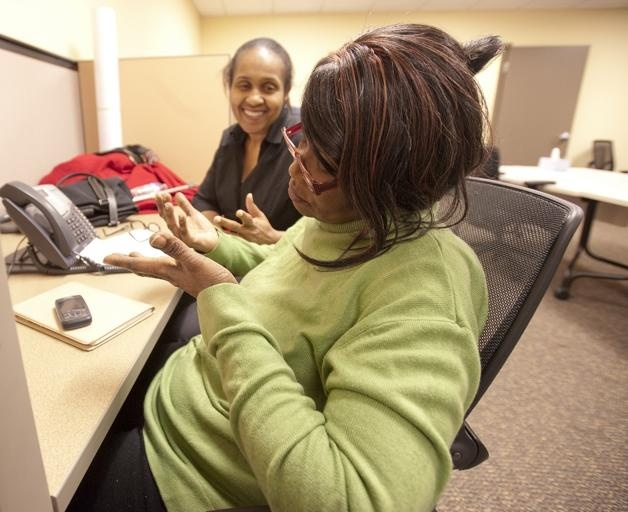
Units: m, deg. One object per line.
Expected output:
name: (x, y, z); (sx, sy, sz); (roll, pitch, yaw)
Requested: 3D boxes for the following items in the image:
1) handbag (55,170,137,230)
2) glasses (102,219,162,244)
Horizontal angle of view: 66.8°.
handbag: (-0.847, -0.204, 1.837); (0.248, 0.094, 0.254); (22, 28, -12)
glasses: (-0.623, -0.082, 1.606); (0.087, 0.034, 0.097); (14, 32, 19)
